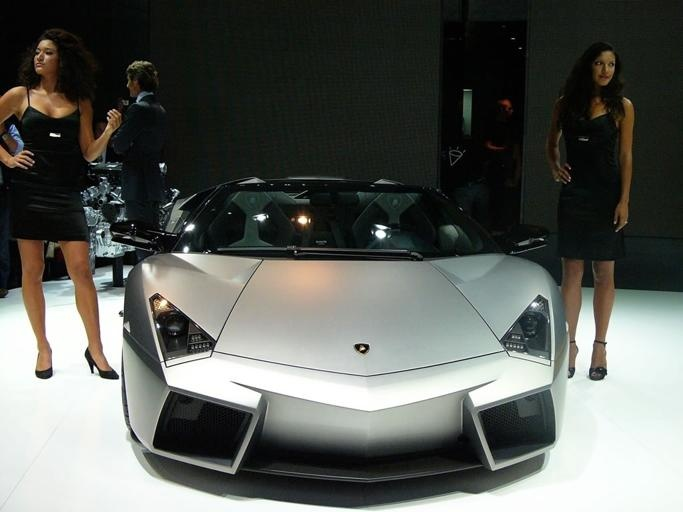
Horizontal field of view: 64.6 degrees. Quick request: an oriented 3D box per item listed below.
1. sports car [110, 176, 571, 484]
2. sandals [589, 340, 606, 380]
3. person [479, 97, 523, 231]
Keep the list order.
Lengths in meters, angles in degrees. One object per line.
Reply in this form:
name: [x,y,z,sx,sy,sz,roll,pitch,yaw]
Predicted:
sports car: [-0.106,0.205,2.676,2.332,1.080,1.491,3,11,13]
sandals: [1.695,0.686,3.551,0.083,0.135,0.298,-4,21,19]
person: [1.945,-1.106,6.471,0.383,1.470,0.412,1,26,13]
